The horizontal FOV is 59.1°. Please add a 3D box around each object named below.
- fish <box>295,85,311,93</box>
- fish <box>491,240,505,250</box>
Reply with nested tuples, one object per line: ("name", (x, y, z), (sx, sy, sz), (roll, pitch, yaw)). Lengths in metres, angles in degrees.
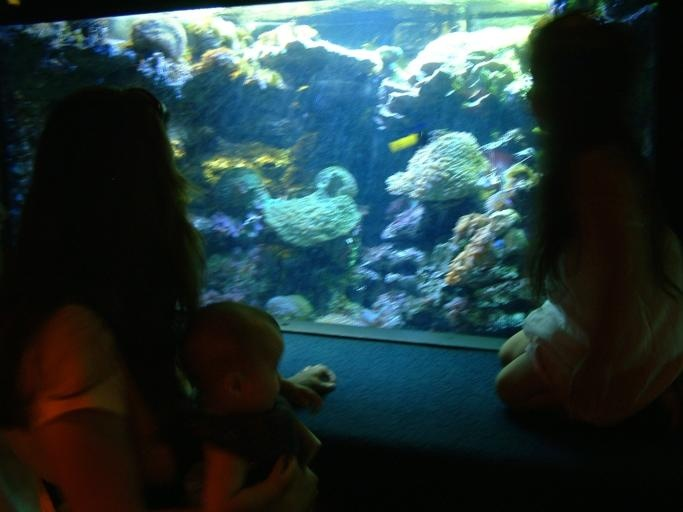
("fish", (-0.197, -0.851, 3.066), (0.070, 0.012, 0.040), (-34, 71, -21))
("fish", (0.773, -0.058, 2.958), (0.044, 0.041, 0.009), (32, 7, 21))
